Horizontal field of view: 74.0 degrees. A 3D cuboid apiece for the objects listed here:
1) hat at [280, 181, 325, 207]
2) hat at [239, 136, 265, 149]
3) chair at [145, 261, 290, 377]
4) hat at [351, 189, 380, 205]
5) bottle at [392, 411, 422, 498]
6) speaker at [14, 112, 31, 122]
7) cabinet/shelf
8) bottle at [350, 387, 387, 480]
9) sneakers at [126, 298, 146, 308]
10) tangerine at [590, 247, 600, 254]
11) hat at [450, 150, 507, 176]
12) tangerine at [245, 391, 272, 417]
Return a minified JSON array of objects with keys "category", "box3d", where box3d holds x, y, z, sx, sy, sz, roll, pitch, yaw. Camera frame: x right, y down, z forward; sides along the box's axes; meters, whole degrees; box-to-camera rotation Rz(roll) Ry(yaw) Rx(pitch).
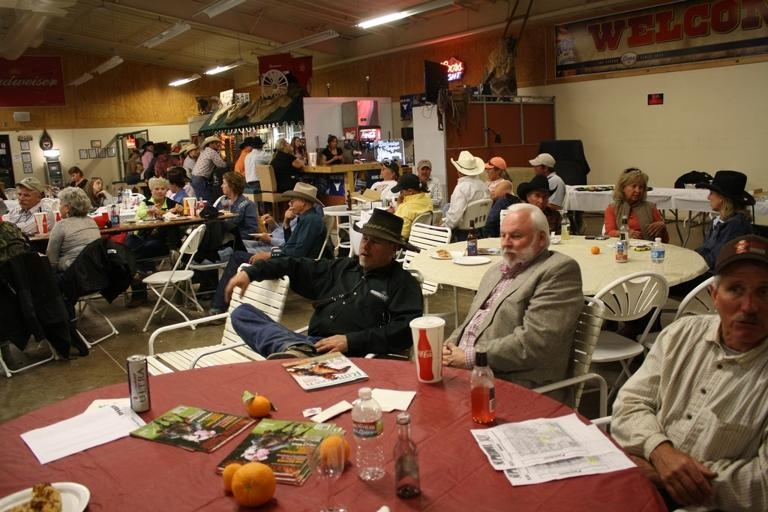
[{"category":"hat","box3d":[-0.914,-0.772,5.839,0.382,0.144,0.317,16,-7,-31]},{"category":"hat","box3d":[-3.159,-2.810,12.484,0.460,0.215,0.621,1,11,6]},{"category":"chair","box3d":[-1.382,0.494,3.948,0.898,1.207,0.820,-4,7,-44]},{"category":"hat","box3d":[-0.272,-1.055,8.944,0.431,0.158,0.421,-7,12,-35]},{"category":"bottle","box3d":[0.085,0.722,1.883,0.098,0.286,0.185,-3,15,1]},{"category":"speaker","box3d":[-12.803,-5.002,17.996,0.540,0.361,0.276,-16,20,-41]},{"category":"cabinet/shelf","box3d":[1.870,-2.080,10.048,3.160,2.807,0.986,-10,19,-29]},{"category":"bottle","box3d":[-0.064,0.681,2.005,0.129,0.294,0.273,-4,15,-3]},{"category":"sneakers","box3d":[-3.491,0.665,7.138,0.105,0.099,0.247,-1,-1,42]},{"category":"tangerine","box3d":[1.972,-0.053,4.712,0.072,0.069,0.069,-3,57,3]},{"category":"hat","box3d":[1.473,-1.423,7.924,0.761,0.269,0.640,8,21,18]},{"category":"tangerine","box3d":[-0.563,0.669,2.309,0.101,0.090,0.098,-2,0,-34]}]
